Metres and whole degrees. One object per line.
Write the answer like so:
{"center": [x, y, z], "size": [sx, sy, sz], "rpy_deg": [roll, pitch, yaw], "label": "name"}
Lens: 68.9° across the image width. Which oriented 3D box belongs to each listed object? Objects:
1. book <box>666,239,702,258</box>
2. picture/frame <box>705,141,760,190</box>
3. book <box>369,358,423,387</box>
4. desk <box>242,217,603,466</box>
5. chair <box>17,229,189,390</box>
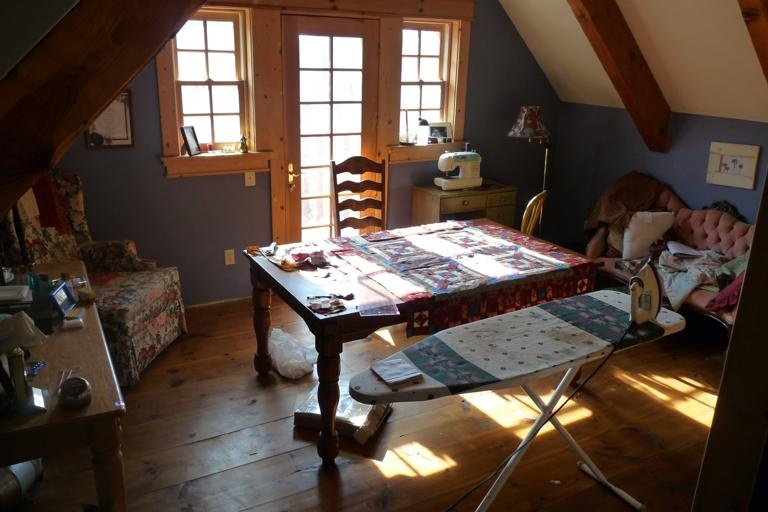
{"center": [2.585, -0.059, 4.802], "size": [0.168, 0.057, 0.171], "rpy_deg": [0, 21, -9], "label": "book"}
{"center": [3.051, -0.788, 4.861], "size": [0.041, 0.375, 0.386], "rpy_deg": [-5, 19, -31], "label": "picture/frame"}
{"center": [0.065, 0.544, 2.622], "size": [0.190, 0.057, 0.211], "rpy_deg": [-10, 16, -24], "label": "book"}
{"center": [0.292, 0.538, 4.090], "size": [2.099, 0.914, 1.352], "rpy_deg": [-7, 12, -20], "label": "desk"}
{"center": [-2.119, 0.298, 4.133], "size": [1.013, 0.901, 0.793], "rpy_deg": [7, 24, 5], "label": "chair"}
